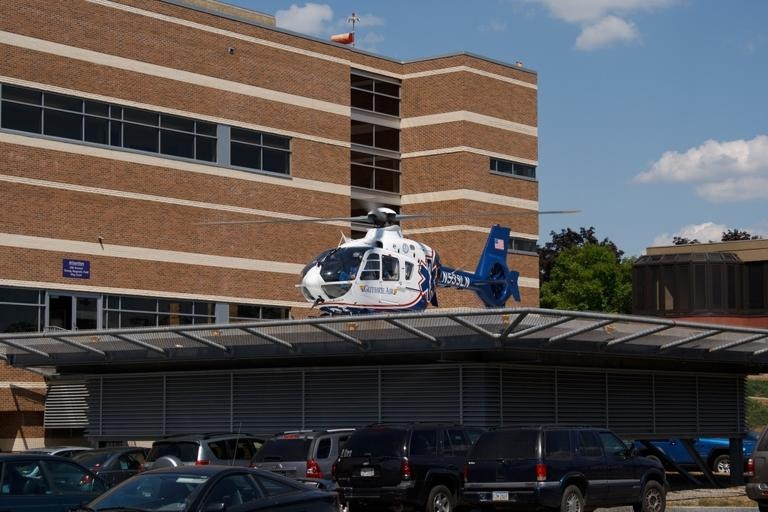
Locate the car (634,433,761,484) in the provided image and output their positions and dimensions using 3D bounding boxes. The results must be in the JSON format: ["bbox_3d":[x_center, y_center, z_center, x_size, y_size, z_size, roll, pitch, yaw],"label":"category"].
[{"bbox_3d":[13.679,8.764,78.874,5.101,1.484,2.585,-3,-6,16],"label":"car"}]
